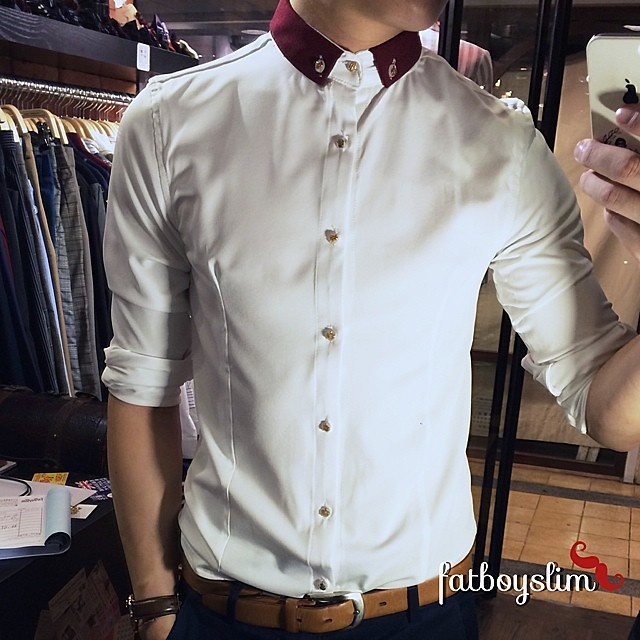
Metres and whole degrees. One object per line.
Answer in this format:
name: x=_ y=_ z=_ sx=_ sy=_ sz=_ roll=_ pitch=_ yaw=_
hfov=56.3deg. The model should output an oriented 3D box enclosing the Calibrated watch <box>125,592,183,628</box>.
Calibrated watch: x=-0.252 y=0.430 z=0.895 sx=0.071 sy=0.032 sz=0.047 roll=-3 pitch=-7 yaw=-2
